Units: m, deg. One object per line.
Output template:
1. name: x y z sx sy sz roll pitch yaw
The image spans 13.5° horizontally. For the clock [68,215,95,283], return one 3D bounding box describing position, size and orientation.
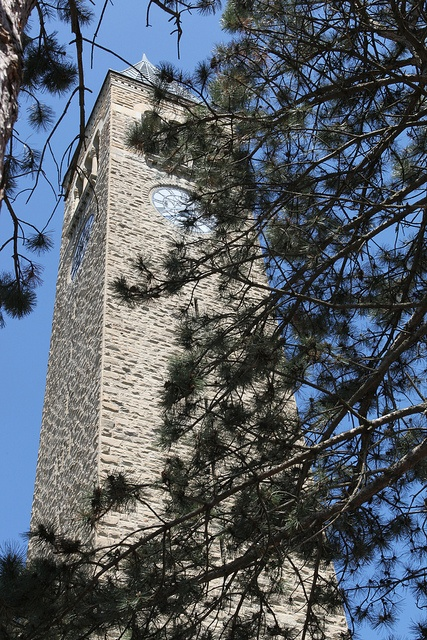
1. clock: -1.974 -1.115 27.191 0.050 0.952 1.009 17 -19 -4
